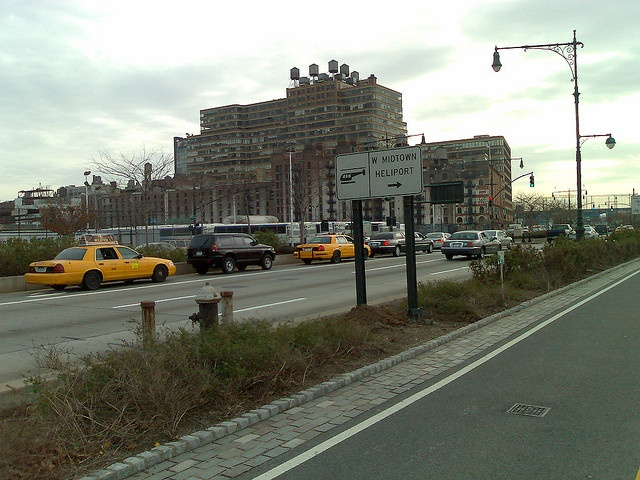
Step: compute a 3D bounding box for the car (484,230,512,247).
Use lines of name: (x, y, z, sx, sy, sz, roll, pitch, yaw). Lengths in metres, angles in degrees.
car: (10.337, -0.079, 38.191, 1.140, 0.918, 2.731, 3, 7, 34)

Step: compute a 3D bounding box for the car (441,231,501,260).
car: (7.709, 0.292, 34.086, 2.148, 1.417, 2.799, 1, 5, 33)

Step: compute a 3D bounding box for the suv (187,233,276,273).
suv: (-3.785, 0.533, 27.967, 1.583, 1.331, 3.329, 1, 5, 40)

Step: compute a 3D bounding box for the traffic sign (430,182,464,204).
traffic sign: (2.453, -0.920, 12.754, 0.580, 0.427, 1.129, -1, 4, 8)

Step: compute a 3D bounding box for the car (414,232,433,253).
car: (6.762, 0.212, 42.851, 1.042, 1.447, 2.778, -1, 4, 7)

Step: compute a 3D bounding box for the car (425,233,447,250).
car: (8.676, 0.117, 48.938, 1.112, 0.844, 2.479, 0, 6, 24)

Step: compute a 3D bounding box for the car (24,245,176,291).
car: (-7.100, 0.838, 21.182, 1.465, 1.084, 3.900, 2, 4, 30)

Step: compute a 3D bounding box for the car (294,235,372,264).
car: (0.368, 0.467, 33.518, 3.181, 1.364, 1.369, -5, 6, -37)

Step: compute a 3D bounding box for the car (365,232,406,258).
car: (3.937, 0.311, 38.518, 2.446, 1.387, 1.288, -4, 5, -29)

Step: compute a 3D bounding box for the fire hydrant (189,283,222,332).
fire hydrant: (-1.717, 0.972, 9.836, 0.392, 0.634, 0.392, -4, 5, -30)
